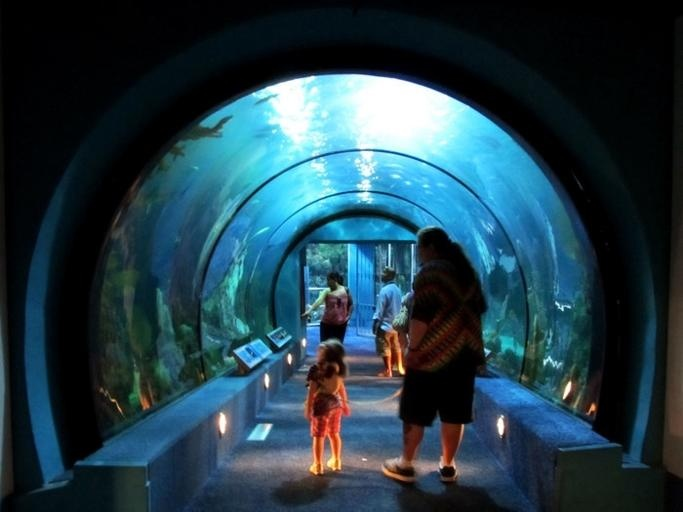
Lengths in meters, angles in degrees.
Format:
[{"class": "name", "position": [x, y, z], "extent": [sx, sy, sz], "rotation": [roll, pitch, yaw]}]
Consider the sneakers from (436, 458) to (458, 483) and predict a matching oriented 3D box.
[{"class": "sneakers", "position": [1.187, 2.411, 5.461], "extent": [0.116, 0.148, 0.322], "rotation": [-1, -5, 4]}]

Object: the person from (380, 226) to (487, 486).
[{"class": "person", "position": [1.055, 1.089, 5.224], "extent": [0.981, 2.804, 0.554], "rotation": [0, -2, 5]}]

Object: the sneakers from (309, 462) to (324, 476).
[{"class": "sneakers", "position": [-0.298, 2.471, 5.697], "extent": [0.114, 0.133, 0.122], "rotation": [-2, -5, 22]}]

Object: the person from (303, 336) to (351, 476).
[{"class": "person", "position": [-0.174, 1.769, 5.937], "extent": [0.514, 1.543, 0.759], "rotation": [0, -3, 0]}]
